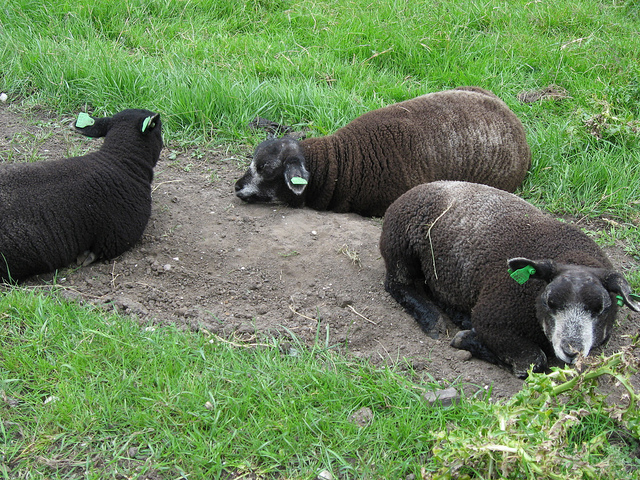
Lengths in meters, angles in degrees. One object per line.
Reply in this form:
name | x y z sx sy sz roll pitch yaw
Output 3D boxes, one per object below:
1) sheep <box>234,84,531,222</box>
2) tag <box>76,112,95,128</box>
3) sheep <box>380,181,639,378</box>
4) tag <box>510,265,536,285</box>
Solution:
sheep | 0.691 -0.998 7.124 3.027 1.391 1.317 -19 42 7
tag | -2.237 -1.147 6.112 0.145 0.122 0.127 14 27 11
sheep | 1.282 0.271 5.056 1.129 0.884 2.074 -8 27 -31
tag | 1.390 0.233 4.402 0.111 0.146 0.037 37 23 -18
